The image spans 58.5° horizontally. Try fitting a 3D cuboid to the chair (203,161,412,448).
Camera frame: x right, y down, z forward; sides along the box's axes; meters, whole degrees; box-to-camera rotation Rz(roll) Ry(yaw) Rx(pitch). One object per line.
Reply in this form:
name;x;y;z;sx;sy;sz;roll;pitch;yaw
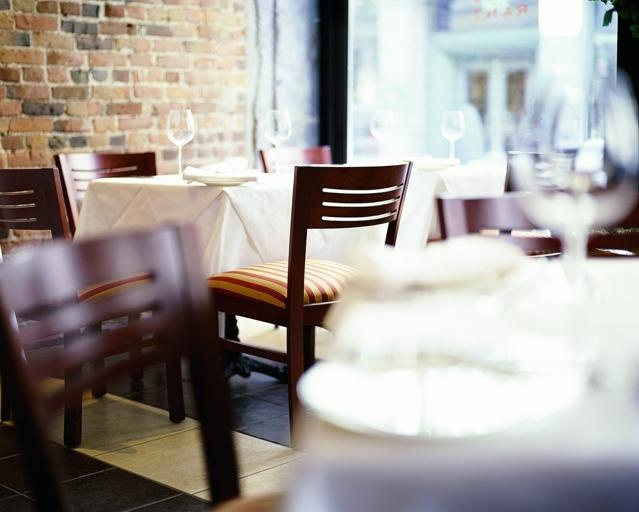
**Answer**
chair;-0.006;0.051;2.328;0.806;1.322;0.745;8;10;38
